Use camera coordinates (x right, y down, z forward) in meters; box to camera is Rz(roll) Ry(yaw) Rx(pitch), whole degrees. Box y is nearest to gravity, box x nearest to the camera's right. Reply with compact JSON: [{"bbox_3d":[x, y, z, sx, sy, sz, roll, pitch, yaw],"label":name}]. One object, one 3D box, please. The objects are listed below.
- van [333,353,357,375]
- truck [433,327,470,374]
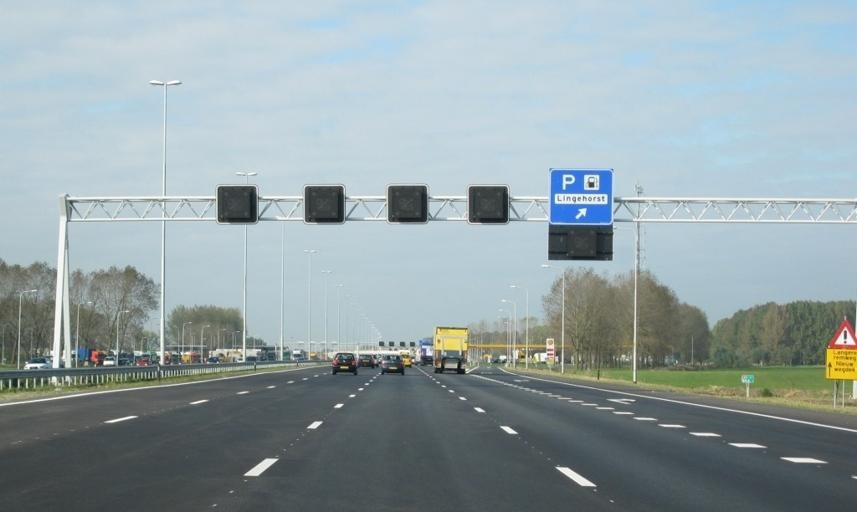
[{"bbox_3d":[-6.808,8.738,104.147,1.256,1.138,2.280,1,3,-2],"label":"van"},{"bbox_3d":[2.615,8.064,114.308,3.979,4.400,6.921,1,-7,-1],"label":"truck"}]
